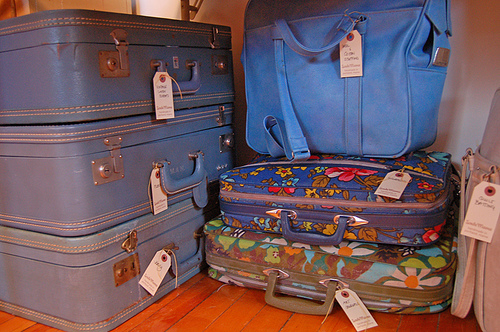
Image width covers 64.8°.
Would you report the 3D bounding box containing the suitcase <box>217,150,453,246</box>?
[{"bbox_3d":[0.287,0.101,1.257,0.437,0.128,0.446,2,6,25],"label":"suitcase"}]
